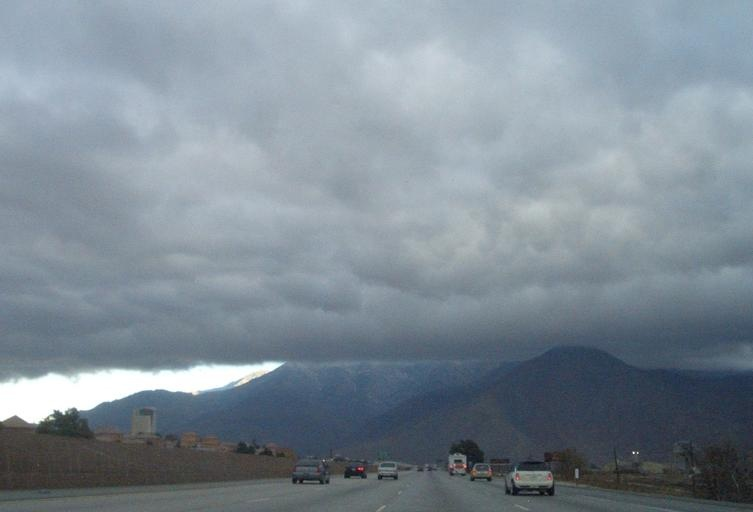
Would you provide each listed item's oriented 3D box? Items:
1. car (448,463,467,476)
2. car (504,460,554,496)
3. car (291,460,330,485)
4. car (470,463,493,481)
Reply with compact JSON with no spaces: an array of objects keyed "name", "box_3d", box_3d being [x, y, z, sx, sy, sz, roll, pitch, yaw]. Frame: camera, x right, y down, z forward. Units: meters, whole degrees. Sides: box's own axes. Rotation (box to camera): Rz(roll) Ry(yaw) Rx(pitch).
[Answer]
[{"name":"car","box_3d":[12.145,32.658,145.893,1.745,1.539,3.213,2,-17,-5]},{"name":"car","box_3d":[13.563,19.842,85.809,2.490,2.116,4.346,0,-6,2]},{"name":"car","box_3d":[-6.523,21.586,96.014,2.695,3.010,4.114,-18,-26,36]},{"name":"car","box_3d":[12.290,25.844,113.797,1.639,1.452,3.010,1,-4,2]}]
